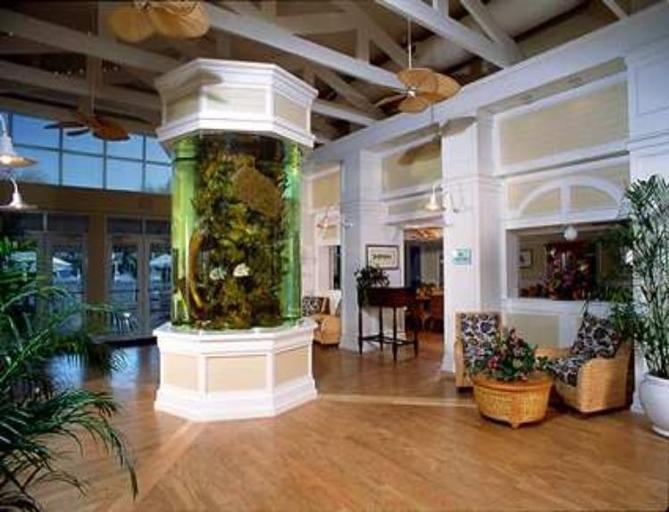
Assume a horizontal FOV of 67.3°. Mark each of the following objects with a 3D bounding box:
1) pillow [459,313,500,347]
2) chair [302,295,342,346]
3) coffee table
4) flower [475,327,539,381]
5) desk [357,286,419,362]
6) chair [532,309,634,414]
[{"bbox_3d":[1.831,0.920,6.474,0.410,0.416,0.127,4,-16,17],"label":"pillow"},{"bbox_3d":[-0.124,1.187,9.995,0.771,1.196,1.338,2,-6,-21],"label":"chair"},{"bbox_3d":[1.958,1.585,5.573,0.813,0.458,0.888,-2,-3,36],"label":"coffee table"},{"bbox_3d":[1.946,1.037,5.545,0.449,0.480,0.430,-2,13,-33],"label":"flower"},{"bbox_3d":[0.911,1.084,8.608,0.685,1.170,0.942,3,-2,-44],"label":"desk"},{"bbox_3d":[2.902,1.220,5.839,0.960,1.001,0.993,0,3,33],"label":"chair"}]
